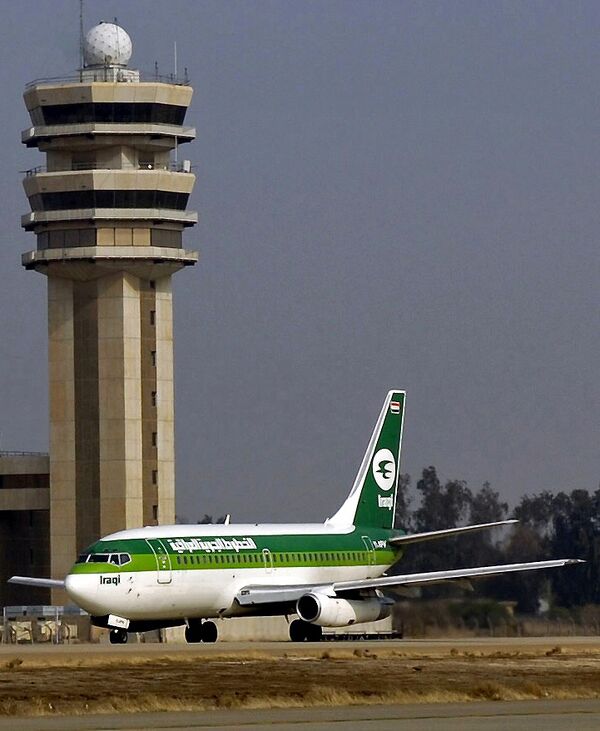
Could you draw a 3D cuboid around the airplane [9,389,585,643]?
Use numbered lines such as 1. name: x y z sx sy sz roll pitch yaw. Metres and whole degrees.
1. airplane: 2.754 5.139 72.160 14.416 8.568 20.049 0 -1 28
